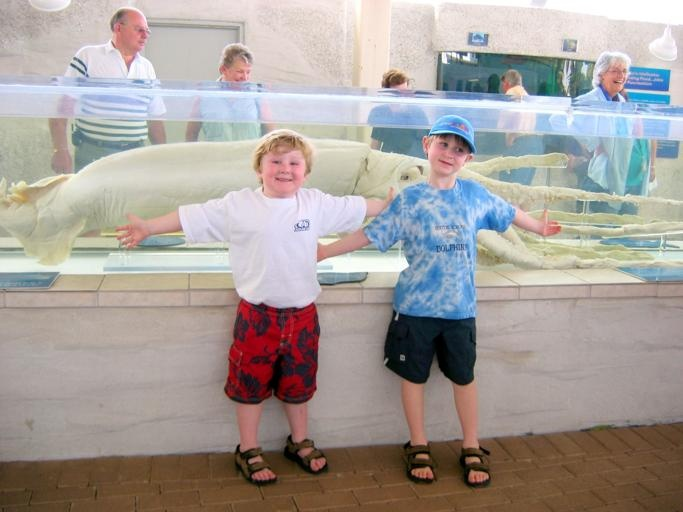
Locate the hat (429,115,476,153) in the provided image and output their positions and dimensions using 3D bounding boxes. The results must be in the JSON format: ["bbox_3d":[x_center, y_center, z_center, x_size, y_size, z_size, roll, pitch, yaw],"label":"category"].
[{"bbox_3d":[0.488,-0.554,2.771,0.166,0.104,0.208,22,7,-10],"label":"hat"}]

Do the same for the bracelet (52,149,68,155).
[{"bbox_3d":[-1.273,-0.476,2.769,0.060,0.018,0.014,-6,14,-14],"label":"bracelet"}]

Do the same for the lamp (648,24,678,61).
[{"bbox_3d":[3.106,-2.052,5.900,0.201,0.291,0.312,5,16,32],"label":"lamp"}]

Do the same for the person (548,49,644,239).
[{"bbox_3d":[1.652,-0.789,3.678,0.377,0.908,1.605,3,14,24],"label":"person"}]

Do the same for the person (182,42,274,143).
[{"bbox_3d":[-0.618,-0.925,3.323,0.412,0.572,1.186,-5,13,-7],"label":"person"}]

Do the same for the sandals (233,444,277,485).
[{"bbox_3d":[-0.415,0.968,2.880,0.103,0.100,0.253,-3,8,-38],"label":"sandals"}]

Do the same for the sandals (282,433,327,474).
[{"bbox_3d":[-0.179,0.947,2.965,0.109,0.092,0.247,-8,10,-39],"label":"sandals"}]
